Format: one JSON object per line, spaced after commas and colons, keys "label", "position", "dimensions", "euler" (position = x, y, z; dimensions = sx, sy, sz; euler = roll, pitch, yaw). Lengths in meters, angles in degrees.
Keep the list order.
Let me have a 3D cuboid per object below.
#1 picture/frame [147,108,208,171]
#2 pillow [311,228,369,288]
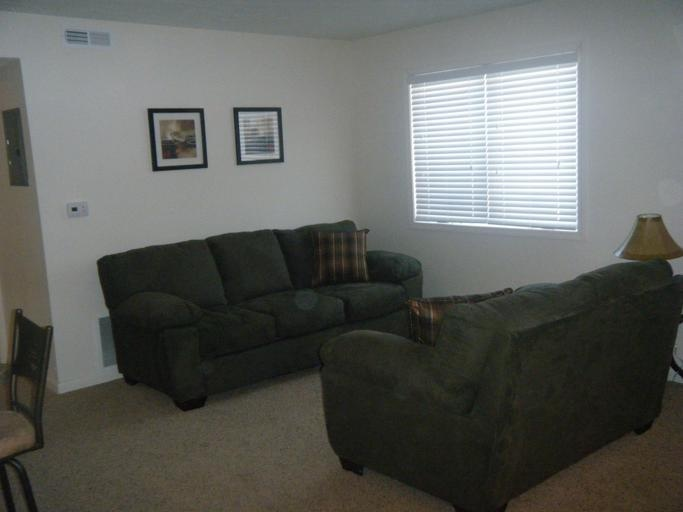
{"label": "picture/frame", "position": [-1.486, -1.061, 4.901], "dimensions": [0.513, 0.557, 0.037], "euler": [-9, 10, -42]}
{"label": "pillow", "position": [-0.018, 0.029, 5.254], "dimensions": [0.455, 0.468, 0.145], "euler": [-4, -5, -16]}
